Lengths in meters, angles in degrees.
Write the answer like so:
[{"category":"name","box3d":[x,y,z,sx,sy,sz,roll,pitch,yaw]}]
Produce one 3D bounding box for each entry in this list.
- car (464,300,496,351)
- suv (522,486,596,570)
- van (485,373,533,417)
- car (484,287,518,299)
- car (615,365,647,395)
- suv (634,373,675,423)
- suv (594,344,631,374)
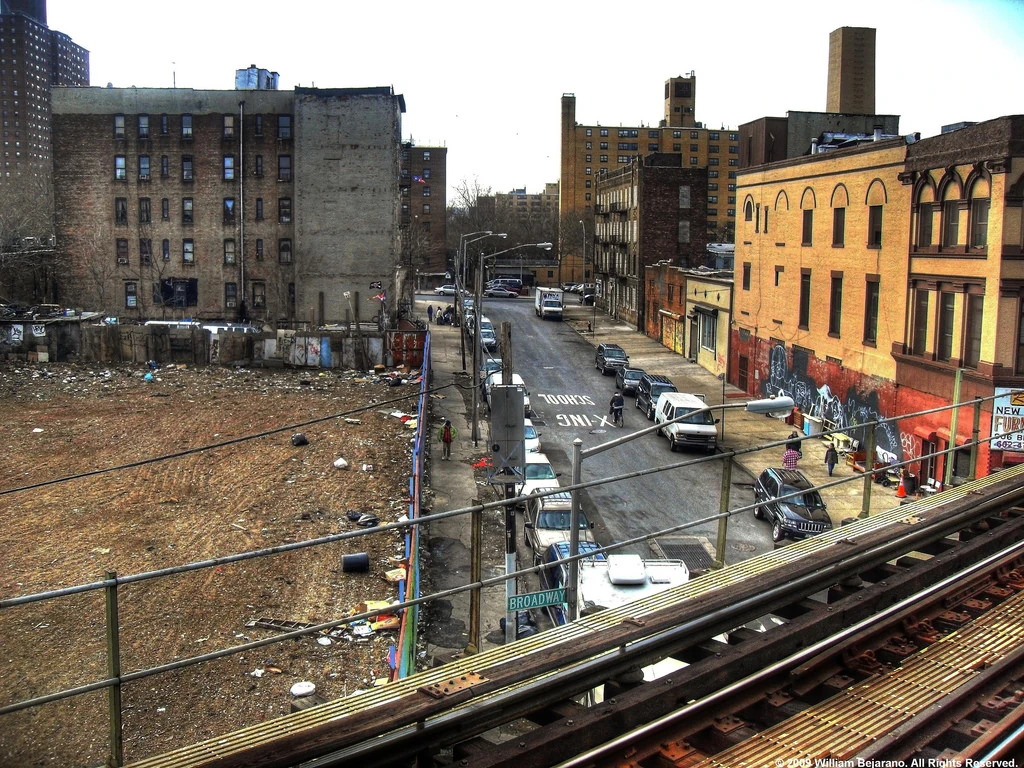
[{"category":"car","box3d":[-1.964,-4.260,63.793,1.954,2.016,5.659,-1,11,-6]},{"category":"suv","box3d":[1.234,3.640,24.740,1.919,1.693,3.580,-1,4,-5]},{"category":"van","box3d":[-0.338,0.149,41.804,1.296,1.229,2.942,-1,11,-8]},{"category":"car","box3d":[-1.338,-10.650,104.403,3.021,1.150,1.470,-2,17,-3]},{"category":"car","box3d":[6.133,-0.152,47.425,0.920,0.970,1.758,-2,10,-8]},{"category":"suv","box3d":[6.851,0.615,41.898,1.354,1.440,2.621,-1,9,-4]},{"category":"suv","box3d":[6.037,-1.598,54.325,1.080,1.184,2.340,-1,8,-4]}]
